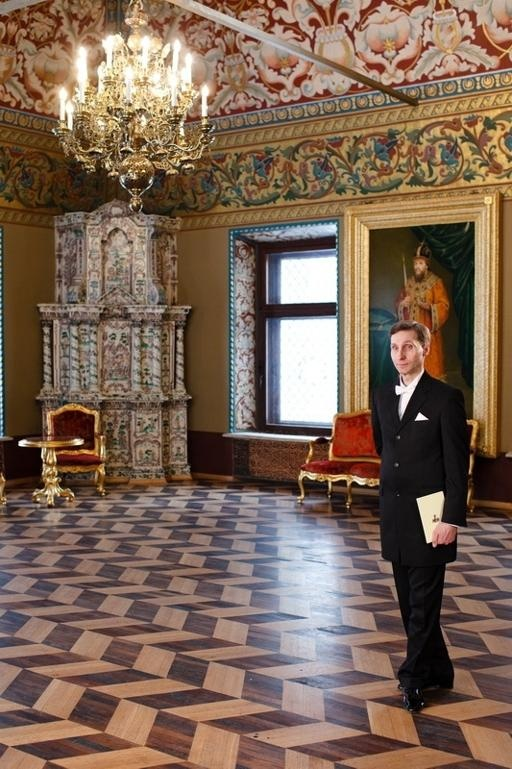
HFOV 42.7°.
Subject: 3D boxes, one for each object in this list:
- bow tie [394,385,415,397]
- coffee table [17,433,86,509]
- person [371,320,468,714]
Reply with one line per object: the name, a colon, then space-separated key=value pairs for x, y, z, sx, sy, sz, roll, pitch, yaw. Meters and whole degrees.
bow tie: x=0.615 y=0.019 z=2.699 sx=0.095 sy=0.045 sz=0.042 roll=8 pitch=6 yaw=34
coffee table: x=-2.575 y=1.054 z=8.233 sx=0.929 sy=0.833 sz=0.899 roll=0 pitch=-2 yaw=21
person: x=0.676 y=0.538 z=2.694 sx=0.344 sy=1.576 sz=0.485 roll=0 pitch=-3 yaw=3
